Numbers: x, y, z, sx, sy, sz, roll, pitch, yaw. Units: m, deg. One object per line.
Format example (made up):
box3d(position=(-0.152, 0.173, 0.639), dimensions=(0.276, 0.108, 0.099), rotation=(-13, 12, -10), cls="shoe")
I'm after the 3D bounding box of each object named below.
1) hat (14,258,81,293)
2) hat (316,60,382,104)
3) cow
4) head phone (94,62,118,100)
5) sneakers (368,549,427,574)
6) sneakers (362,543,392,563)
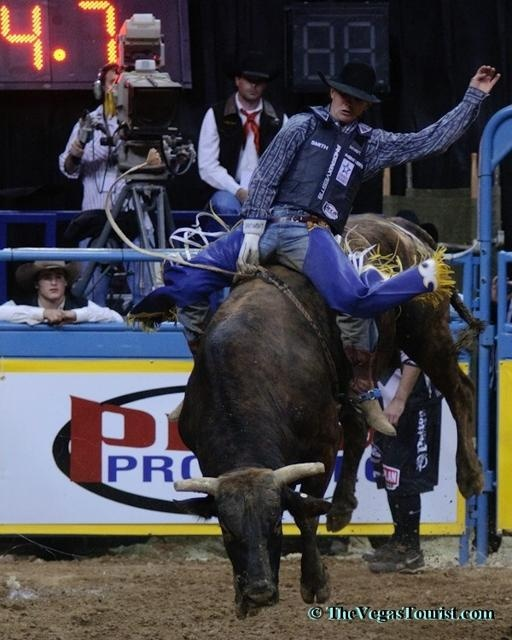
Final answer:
box3d(position=(-1.355, -0.276, 9.150), dimensions=(0.263, 0.086, 0.239), rotation=(-3, -24, -13), cls="hat")
box3d(position=(0.529, -1.277, 7.728), dimensions=(0.405, 0.132, 0.335), rotation=(-14, -8, -8), cls="hat")
box3d(position=(0.301, 0.522, 7.555), dimensions=(1.055, 2.029, 2.320), rotation=(1, 8, 19), cls="cow")
box3d(position=(-1.048, -1.592, 9.684), dimensions=(0.117, 0.249, 0.213), rotation=(5, -2, 37), cls="head phone")
box3d(position=(0.865, 1.463, 8.805), dimensions=(0.384, 0.148, 0.130), rotation=(2, 4, -6), cls="sneakers")
box3d(position=(0.757, 1.424, 8.893), dimensions=(0.084, 0.102, 0.231), rotation=(18, -9, 17), cls="sneakers")
